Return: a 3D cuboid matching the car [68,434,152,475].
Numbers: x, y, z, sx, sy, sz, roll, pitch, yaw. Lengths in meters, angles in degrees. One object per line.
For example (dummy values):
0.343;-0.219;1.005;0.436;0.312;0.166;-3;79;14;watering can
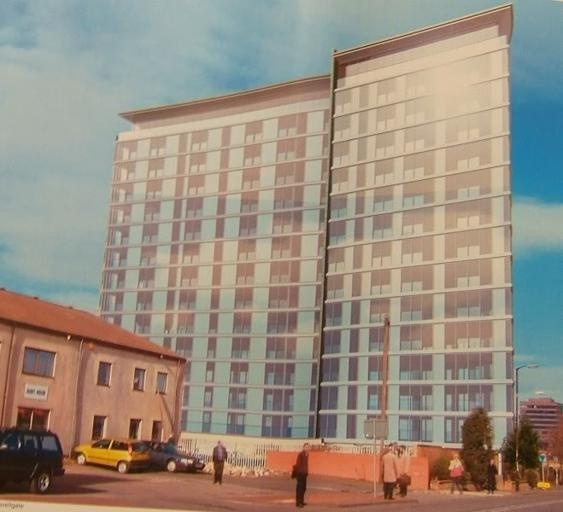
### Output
-8.574;10.135;38.438;3.865;1.622;1.721;-9;-19;32;car
